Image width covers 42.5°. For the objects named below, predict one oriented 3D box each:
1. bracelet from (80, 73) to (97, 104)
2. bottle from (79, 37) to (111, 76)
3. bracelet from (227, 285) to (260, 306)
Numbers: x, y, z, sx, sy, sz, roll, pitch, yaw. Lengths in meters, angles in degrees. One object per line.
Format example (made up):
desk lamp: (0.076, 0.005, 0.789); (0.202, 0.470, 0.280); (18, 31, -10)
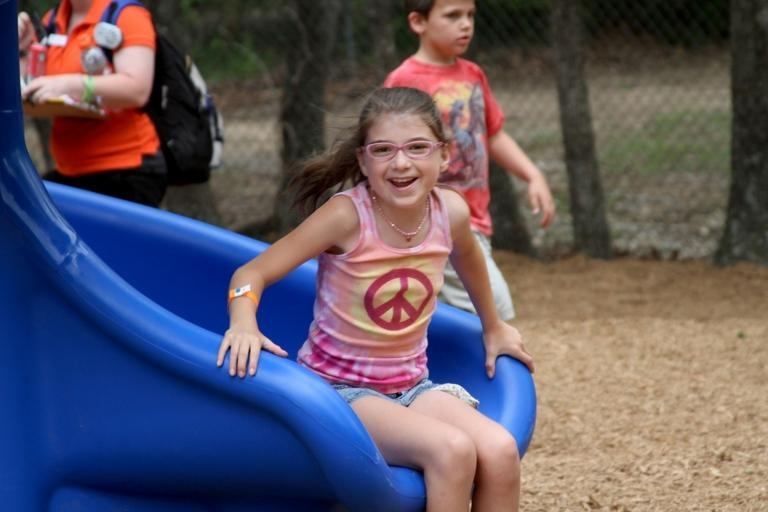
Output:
bracelet: (-0.937, -0.531, 3.137); (0.045, 0.074, 0.024); (2, 3, 3)
bottle: (-0.924, -0.632, 3.155); (0.086, 0.088, 0.051); (-46, 4, -21)
bracelet: (-0.383, 0.100, 2.700); (0.064, 0.026, 0.052); (-10, 48, -21)
